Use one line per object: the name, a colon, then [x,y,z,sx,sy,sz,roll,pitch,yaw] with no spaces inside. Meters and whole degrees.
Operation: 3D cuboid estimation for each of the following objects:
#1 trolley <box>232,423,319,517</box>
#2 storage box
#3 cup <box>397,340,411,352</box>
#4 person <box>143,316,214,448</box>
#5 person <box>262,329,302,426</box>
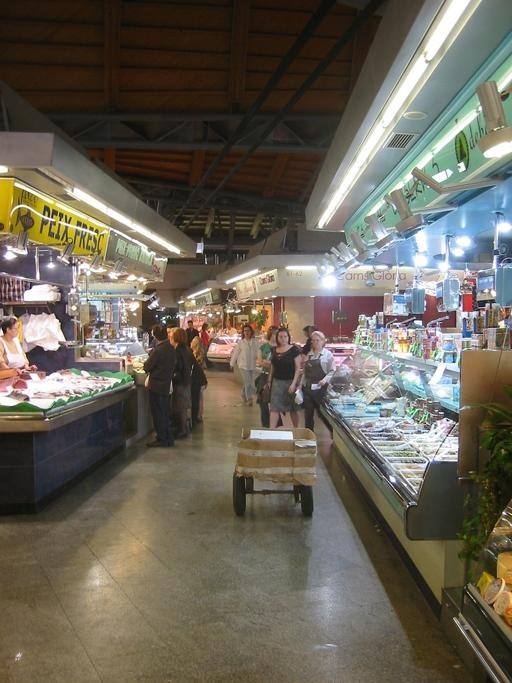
trolley: [0.139,1.052,3.850,0.723,0.560,0.854,2,-11,-9]
storage box: [0.161,0.811,3.694,0.619,0.367,0.500,2,16,7]
cup: [1.272,0.040,4.213,0.101,0.093,0.100,0,-6,0]
person: [-1.159,0.592,6.743,0.533,1.546,1.508,0,-1,-3]
person: [0.345,0.441,5.751,0.367,1.199,0.594,0,-1,2]
